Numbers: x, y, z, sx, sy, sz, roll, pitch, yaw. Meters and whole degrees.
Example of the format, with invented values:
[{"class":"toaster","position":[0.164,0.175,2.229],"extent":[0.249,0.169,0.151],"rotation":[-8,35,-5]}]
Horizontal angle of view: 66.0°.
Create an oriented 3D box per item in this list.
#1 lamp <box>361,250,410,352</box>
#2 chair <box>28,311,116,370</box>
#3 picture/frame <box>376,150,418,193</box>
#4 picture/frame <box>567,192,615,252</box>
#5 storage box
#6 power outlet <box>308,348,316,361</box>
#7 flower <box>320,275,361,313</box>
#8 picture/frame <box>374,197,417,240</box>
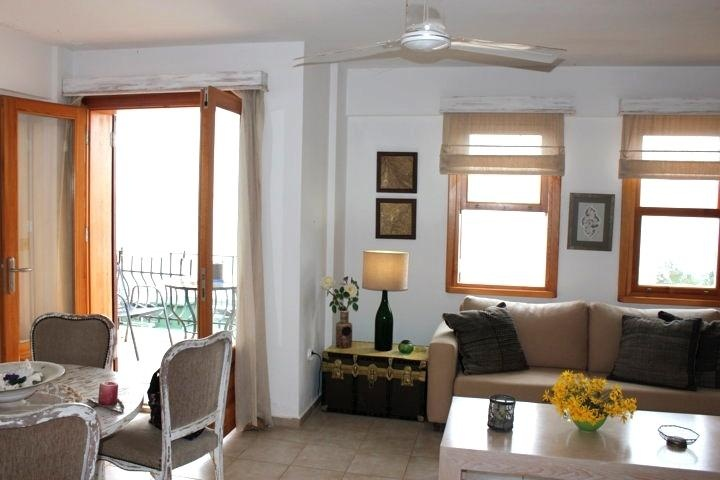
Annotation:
[{"class":"lamp","position":[0.236,0.574,5.268],"extent":[0.415,0.950,0.303],"rotation":[1,11,2]},{"class":"chair","position":[-2.068,0.720,4.105],"extent":[0.421,0.690,0.488],"rotation":[1,-4,-6]},{"class":"picture/frame","position":[0.404,-0.717,5.764],"extent":[0.459,0.442,0.033],"rotation":[1,-2,3]},{"class":"picture/frame","position":[2.303,-0.186,5.486],"extent":[0.587,0.739,0.082],"rotation":[2,4,9]},{"class":"storage box","position":[0.129,1.322,5.115],"extent":[0.920,0.544,0.643],"rotation":[1,3,13]},{"class":"power outlet","position":[-0.449,1.076,5.186],"extent":[0.033,0.059,0.105],"rotation":[-2,-3,16]},{"class":"flower","position":[-0.180,0.539,5.421],"extent":[0.389,0.374,0.361],"rotation":[1,-8,0]},{"class":"picture/frame","position":[0.389,-0.231,5.788],"extent":[0.459,0.442,0.033],"rotation":[1,4,5]}]
